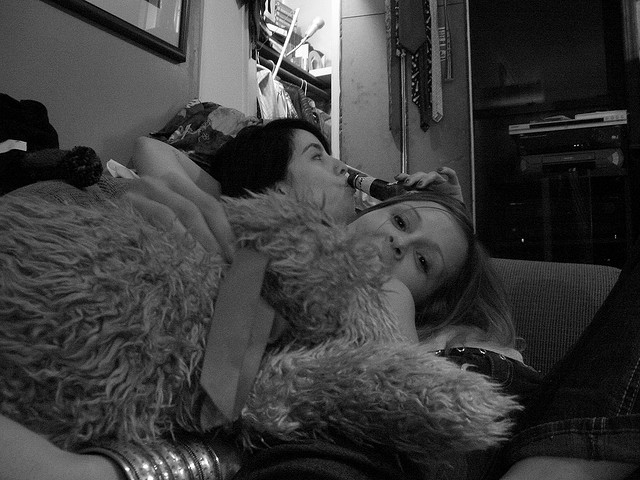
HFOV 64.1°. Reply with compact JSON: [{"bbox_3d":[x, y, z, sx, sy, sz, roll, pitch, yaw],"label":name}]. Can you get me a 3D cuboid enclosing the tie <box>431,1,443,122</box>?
[{"bbox_3d":[0.691,-1.065,3.016,0.081,0.707,0.143,3,5,18],"label":"tie"}]
